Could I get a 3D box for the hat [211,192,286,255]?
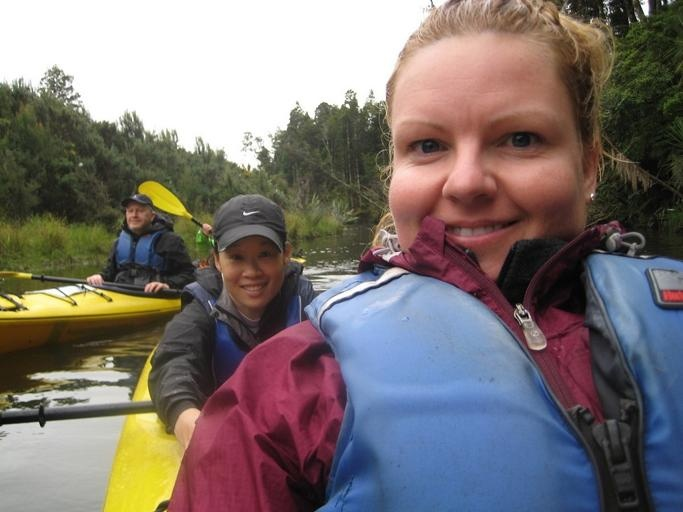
[{"bbox_3d":[-0.453,-0.157,3.019,0.344,0.298,0.516,-3,-4,-23],"label":"hat"}]
